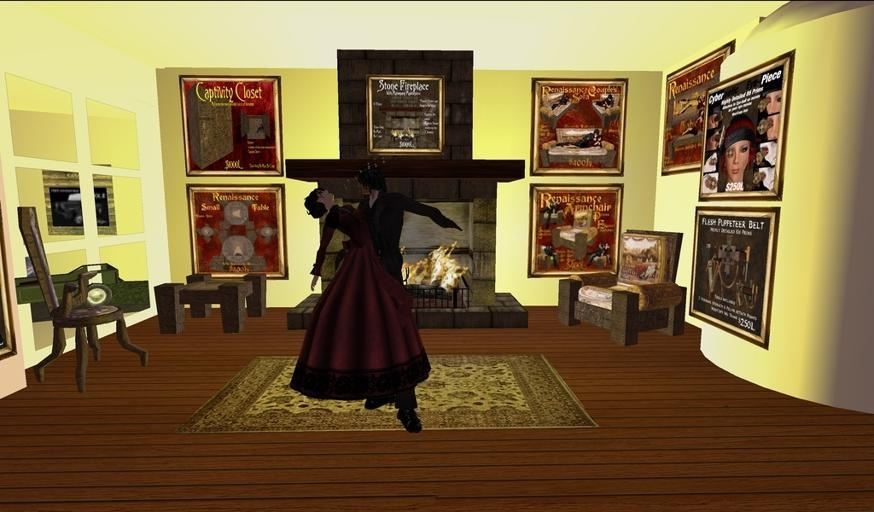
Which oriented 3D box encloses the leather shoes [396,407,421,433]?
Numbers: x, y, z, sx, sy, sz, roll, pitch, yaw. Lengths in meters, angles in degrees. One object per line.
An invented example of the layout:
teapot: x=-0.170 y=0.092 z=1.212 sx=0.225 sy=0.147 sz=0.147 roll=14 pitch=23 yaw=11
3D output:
leather shoes: x=-0.255 y=1.639 z=5.251 sx=0.235 sy=0.227 sz=0.228 roll=-2 pitch=10 yaw=-14
